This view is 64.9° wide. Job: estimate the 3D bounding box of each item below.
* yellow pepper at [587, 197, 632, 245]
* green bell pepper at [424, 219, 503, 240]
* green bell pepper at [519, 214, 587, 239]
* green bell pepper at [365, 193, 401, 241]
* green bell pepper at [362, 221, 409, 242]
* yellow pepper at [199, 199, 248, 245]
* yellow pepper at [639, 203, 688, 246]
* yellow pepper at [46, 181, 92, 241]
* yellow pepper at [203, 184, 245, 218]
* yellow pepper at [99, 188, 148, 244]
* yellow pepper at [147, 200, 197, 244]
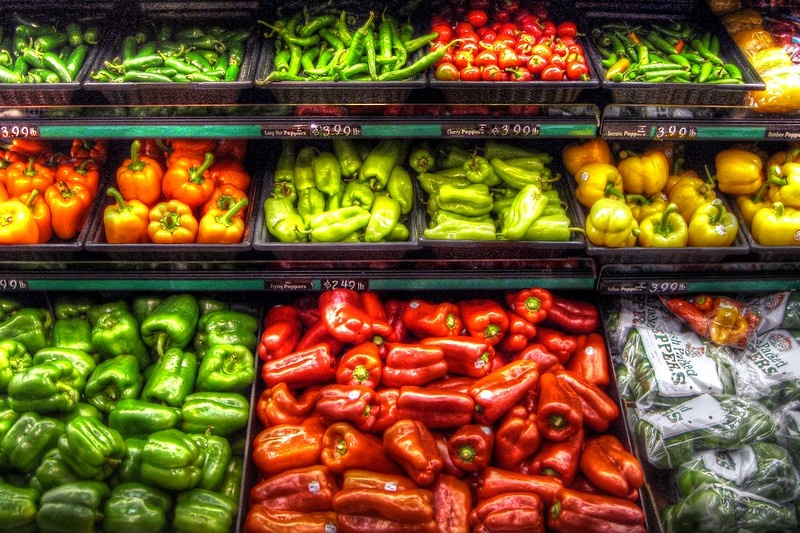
[{"bbox_3d":[1.576,-0.336,4.773,0.264,0.360,0.252,1,-23,-13],"label":"yellow pepper"},{"bbox_3d":[0.475,-0.278,4.800,0.413,0.143,0.220,1,21,6],"label":"green bell pepper"},{"bbox_3d":[1.171,-0.299,4.785,0.424,0.198,0.150,-2,-42,-1],"label":"green bell pepper"},{"bbox_3d":[-0.130,-0.375,4.843,0.201,0.373,0.143,7,-30,11],"label":"green bell pepper"},{"bbox_3d":[-0.089,-0.256,4.901,0.291,0.157,0.126,-8,-10,-8],"label":"green bell pepper"},{"bbox_3d":[-1.357,-0.336,4.825,0.350,0.383,0.214,2,-24,-16],"label":"yellow pepper"},{"bbox_3d":[2.012,-0.315,4.872,0.390,0.331,0.342,0,23,17],"label":"yellow pepper"},{"bbox_3d":[-2.527,-0.414,4.806,0.283,0.397,0.275,13,28,-17],"label":"yellow pepper"},{"bbox_3d":[-1.360,-0.505,5.016,0.270,0.281,0.373,-16,-4,5],"label":"yellow pepper"},{"bbox_3d":[-2.070,-0.371,4.765,0.272,0.390,0.262,13,30,25],"label":"yellow pepper"},{"bbox_3d":[-1.713,-0.337,4.841,0.381,0.310,0.280,-5,16,-6],"label":"yellow pepper"}]
